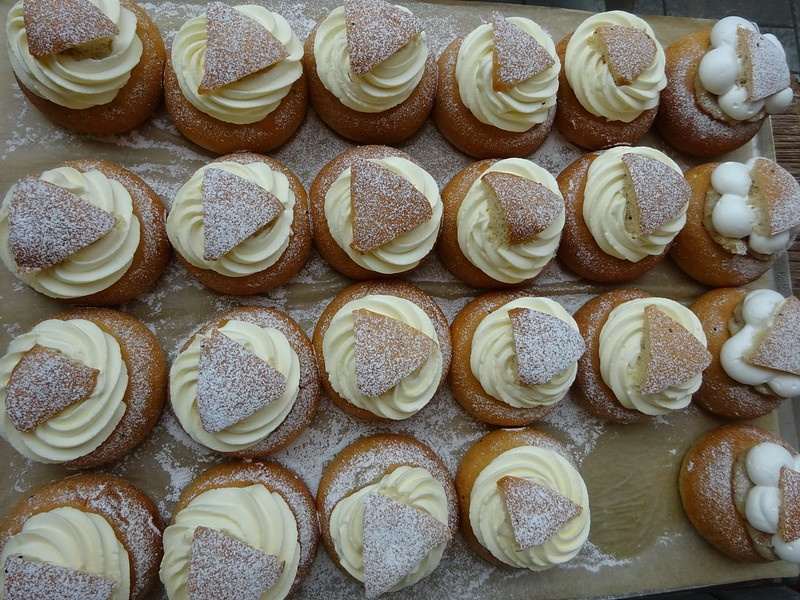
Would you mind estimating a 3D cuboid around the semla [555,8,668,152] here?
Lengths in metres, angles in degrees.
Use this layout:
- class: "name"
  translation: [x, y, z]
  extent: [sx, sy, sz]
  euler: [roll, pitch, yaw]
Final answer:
- class: "semla"
  translation: [0.951, -1.020, 3.953]
  extent: [0.486, 0.310, 0.582]
  euler: [9, 79, -2]
